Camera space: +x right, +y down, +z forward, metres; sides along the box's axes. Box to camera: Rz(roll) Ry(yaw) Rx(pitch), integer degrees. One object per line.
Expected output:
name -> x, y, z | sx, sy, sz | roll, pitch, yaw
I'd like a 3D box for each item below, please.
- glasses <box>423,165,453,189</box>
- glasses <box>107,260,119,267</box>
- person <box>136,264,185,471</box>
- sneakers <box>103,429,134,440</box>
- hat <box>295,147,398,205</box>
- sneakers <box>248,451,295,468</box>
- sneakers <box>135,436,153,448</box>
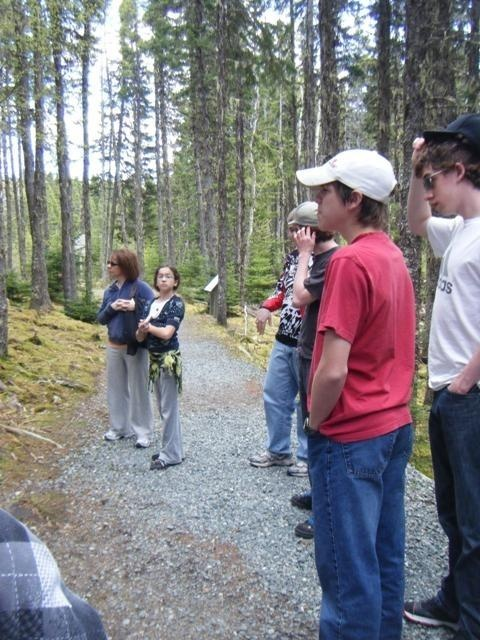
glasses -> 0.856, -0.613, 2.351 | 0.099, 0.039, 0.108 | -1, 5, -1
glasses -> -1.242, -0.544, 5.343 | 0.065, 0.081, 0.024 | -6, -8, -4
person -> -0.708, 0.421, 4.945 | 0.420, 1.803, 0.557 | -2, 6, -7
sneakers -> -1.262, 1.212, 5.718 | 0.287, 0.150, 0.110 | 11, -4, -23
hat -> 0.439, -0.573, 2.215 | 0.314, 0.190, 0.230 | 14, 18, 1
sneakers -> 0.278, 1.200, 4.812 | 0.387, 0.227, 0.152 | 3, 0, 1
sneakers -> -0.949, 1.230, 5.441 | 0.125, 0.092, 0.137 | -12, 5, 28
